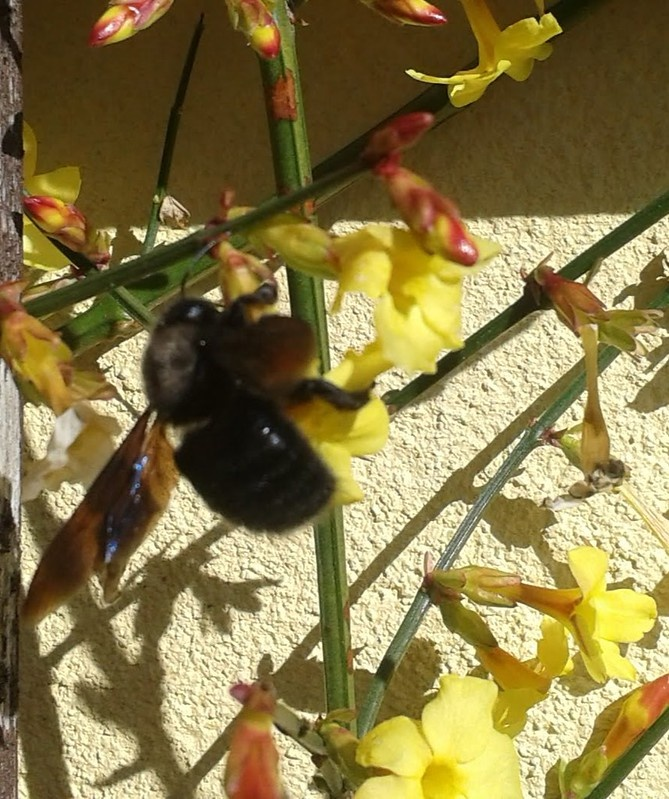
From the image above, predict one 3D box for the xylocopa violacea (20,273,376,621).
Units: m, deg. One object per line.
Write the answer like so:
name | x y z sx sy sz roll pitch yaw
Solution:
xylocopa violacea | -0.026 0.014 0.658 0.067 0.205 0.178 47 39 -31
